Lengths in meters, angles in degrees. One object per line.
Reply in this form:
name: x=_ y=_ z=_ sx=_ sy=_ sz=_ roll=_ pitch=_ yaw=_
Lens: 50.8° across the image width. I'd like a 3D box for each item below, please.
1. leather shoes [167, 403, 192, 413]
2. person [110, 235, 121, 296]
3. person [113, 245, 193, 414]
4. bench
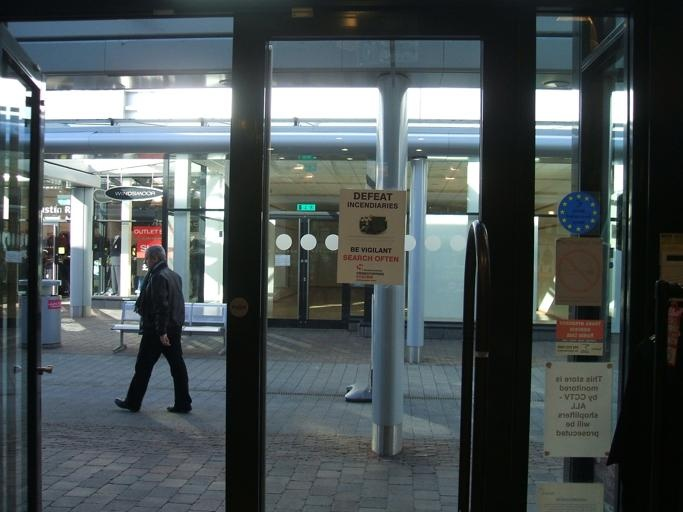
leather shoes: x=-1.763 y=1.643 z=7.754 sx=0.269 sy=0.124 sz=0.094 roll=4 pitch=-2 yaw=9
person: x=-5.958 y=0.290 z=18.936 sx=0.305 sy=1.520 sz=0.353 roll=1 pitch=1 yaw=-38
person: x=-1.993 y=0.794 z=7.735 sx=0.711 sy=1.776 sz=0.409 roll=-1 pitch=4 yaw=-13
bench: x=-2.636 y=1.140 z=11.243 sx=1.691 sy=0.774 sz=0.669 roll=2 pitch=0 yaw=-11
